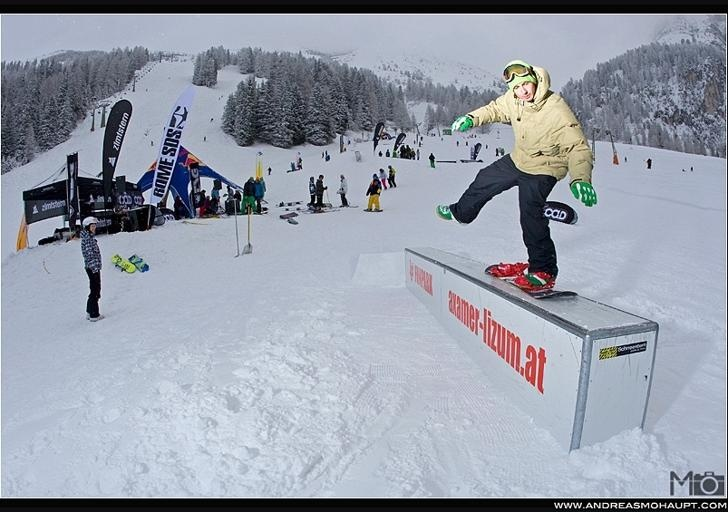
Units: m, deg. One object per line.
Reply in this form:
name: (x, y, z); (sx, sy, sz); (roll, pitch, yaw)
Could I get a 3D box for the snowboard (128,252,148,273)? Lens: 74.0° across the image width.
snowboard: (-4.997, 0.171, 10.677); (0.421, 0.168, 0.158); (41, 42, 21)

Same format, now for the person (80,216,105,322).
person: (-4.406, 0.187, 7.778); (0.317, 1.659, 0.777); (-8, 16, -30)

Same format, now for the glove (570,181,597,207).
glove: (2.427, -0.697, 5.326); (0.102, 0.301, 0.315); (-38, -4, 26)

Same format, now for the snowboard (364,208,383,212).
snowboard: (0.338, -1.559, 16.406); (0.587, 0.126, 0.513); (0, 13, 0)

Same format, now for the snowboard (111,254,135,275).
snowboard: (-5.165, 0.204, 10.486); (0.627, 0.331, 0.200); (29, 13, 19)

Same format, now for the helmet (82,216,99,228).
helmet: (-4.293, -0.531, 7.552); (0.187, 0.148, 0.143); (-23, 11, 9)
